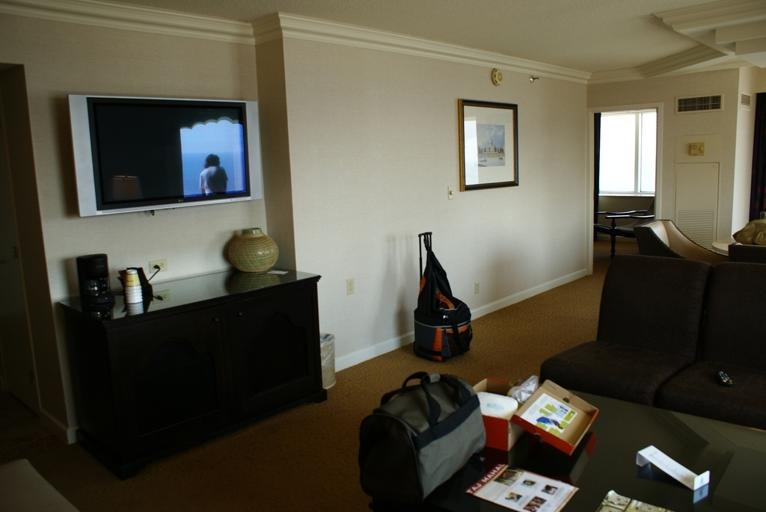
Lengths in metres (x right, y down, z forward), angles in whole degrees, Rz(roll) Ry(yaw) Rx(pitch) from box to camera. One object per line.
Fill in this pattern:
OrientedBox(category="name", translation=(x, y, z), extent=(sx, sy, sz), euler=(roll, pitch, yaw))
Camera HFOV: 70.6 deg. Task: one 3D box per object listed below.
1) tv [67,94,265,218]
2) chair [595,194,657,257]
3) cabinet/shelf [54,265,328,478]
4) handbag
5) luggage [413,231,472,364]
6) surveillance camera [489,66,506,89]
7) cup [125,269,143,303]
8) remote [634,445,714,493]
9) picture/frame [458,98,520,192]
OrientedBox(category="tv", translation=(-1.542, -0.753, 3.939), extent=(1.331, 0.824, 0.060), euler=(-13, 15, -34))
OrientedBox(category="chair", translation=(4.037, -0.490, 8.765), extent=(0.858, 0.775, 0.612), euler=(-2, -1, 15))
OrientedBox(category="cabinet/shelf", translation=(-1.328, 0.777, 4.119), extent=(1.578, 1.038, 0.824), euler=(-12, 12, -41))
OrientedBox(category="handbag", translation=(0.194, 0.869, 2.636), extent=(0.402, 0.524, 0.581), euler=(7, 17, 40))
OrientedBox(category="luggage", translation=(0.534, 0.363, 4.985), extent=(0.560, 1.079, 0.566), euler=(4, 10, 31))
OrientedBox(category="surveillance camera", translation=(1.211, -1.911, 5.782), extent=(0.041, 0.177, 0.176), euler=(3, 19, 44))
OrientedBox(category="cup", translation=(-1.698, 0.201, 3.639), extent=(0.107, 0.223, 0.126), euler=(-11, 14, -27))
OrientedBox(category="remote", translation=(1.380, 0.979, 2.579), extent=(0.138, 0.105, 0.245), euler=(-6, 16, -37))
OrientedBox(category="picture/frame", translation=(1.093, -1.198, 5.763), extent=(0.969, 0.823, 0.068), euler=(-15, 21, -43))
